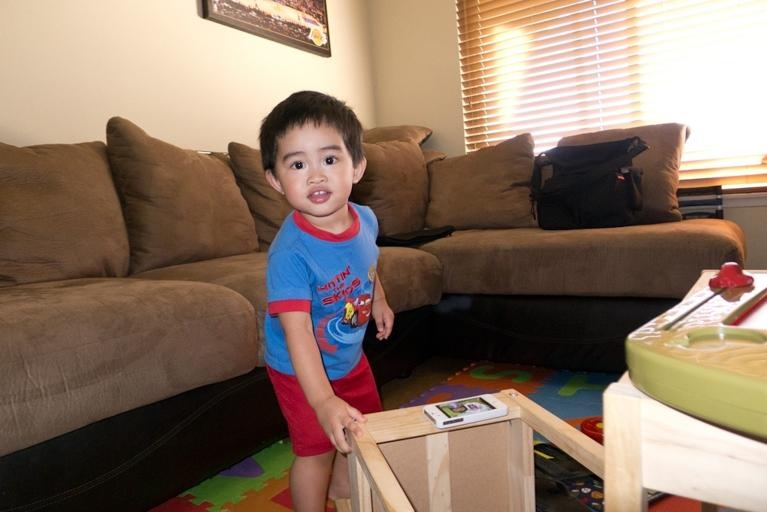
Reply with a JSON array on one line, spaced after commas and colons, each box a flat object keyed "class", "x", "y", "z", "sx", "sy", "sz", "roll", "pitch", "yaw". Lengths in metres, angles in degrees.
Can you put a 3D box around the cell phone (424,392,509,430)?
[{"class": "cell phone", "x": 0.178, "y": 0.339, "z": 1.157, "sx": 0.128, "sy": 0.016, "sz": 0.070, "roll": -5, "pitch": 8, "yaw": -17}]
